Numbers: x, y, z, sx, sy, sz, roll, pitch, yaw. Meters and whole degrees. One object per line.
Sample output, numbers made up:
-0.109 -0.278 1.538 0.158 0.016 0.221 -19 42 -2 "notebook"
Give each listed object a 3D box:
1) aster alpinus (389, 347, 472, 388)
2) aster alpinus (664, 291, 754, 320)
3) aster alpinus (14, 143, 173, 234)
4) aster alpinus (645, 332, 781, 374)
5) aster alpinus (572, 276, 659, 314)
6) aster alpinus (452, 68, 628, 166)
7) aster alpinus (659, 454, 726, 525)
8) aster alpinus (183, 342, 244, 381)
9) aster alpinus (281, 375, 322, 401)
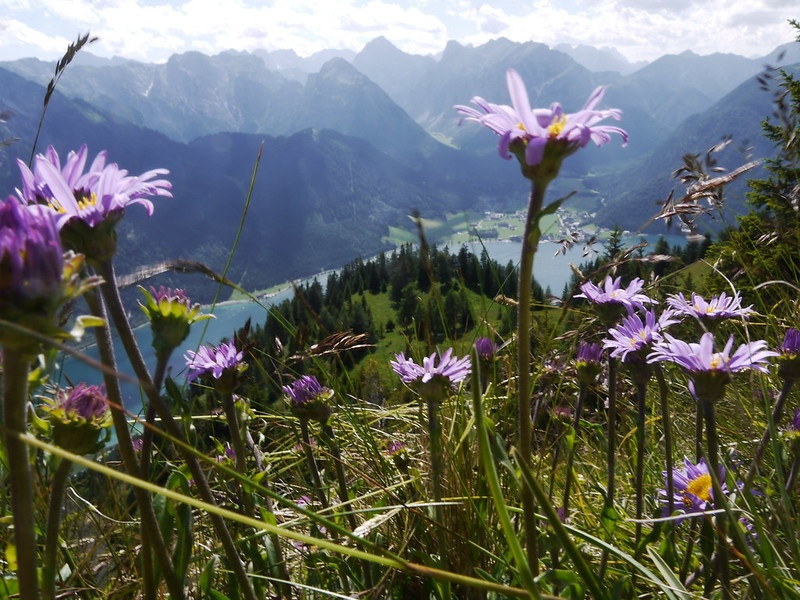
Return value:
0.179 0.460 3.437 0.393 0.188 0.440 -6 7 -20 "aster alpinus"
2.191 0.039 4.077 0.276 0.150 0.289 -2 -2 -16 "aster alpinus"
-1.574 -0.612 3.024 0.601 0.274 0.615 32 31 20 "aster alpinus"
1.984 0.330 3.585 0.538 0.225 0.572 -1 -1 11 "aster alpinus"
1.531 -0.046 4.087 0.315 0.131 0.335 1 10 -4 "aster alpinus"
0.657 -0.739 2.813 0.576 0.325 0.616 3 7 -5 "aster alpinus"
1.817 1.144 3.454 0.419 0.156 0.420 -20 -20 -34 "aster alpinus"
-1.147 0.430 3.518 0.260 0.142 0.282 -5 27 10 "aster alpinus"
-0.663 0.594 3.802 0.292 0.179 0.222 -6 -7 4 "aster alpinus"
